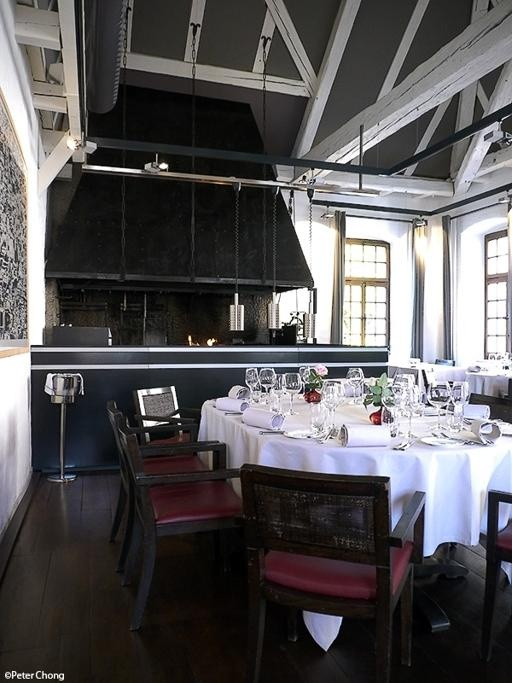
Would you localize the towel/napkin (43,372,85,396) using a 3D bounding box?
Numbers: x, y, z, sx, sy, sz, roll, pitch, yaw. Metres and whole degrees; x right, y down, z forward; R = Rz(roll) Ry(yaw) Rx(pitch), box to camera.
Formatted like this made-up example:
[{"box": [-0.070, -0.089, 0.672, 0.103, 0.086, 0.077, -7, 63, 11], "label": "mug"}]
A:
[{"box": [-1.436, 0.320, 3.741, 0.203, 0.172, 0.172, 3, -2, -5], "label": "towel/napkin"}]

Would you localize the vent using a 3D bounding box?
[{"box": [-0.830, -1.219, 5.419, 2.653, 1.214, 0.318, 1, -2, -23], "label": "vent"}]

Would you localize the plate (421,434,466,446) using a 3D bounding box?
[{"box": [0.641, 0.346, 1.726, 0.140, 0.013, 0.221, -1, -2, 24], "label": "plate"}]
